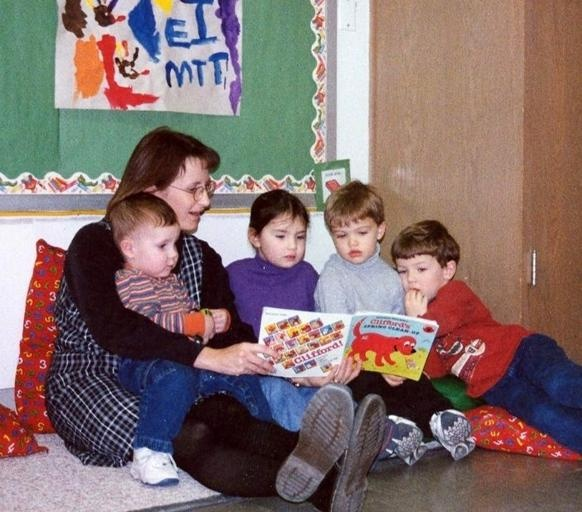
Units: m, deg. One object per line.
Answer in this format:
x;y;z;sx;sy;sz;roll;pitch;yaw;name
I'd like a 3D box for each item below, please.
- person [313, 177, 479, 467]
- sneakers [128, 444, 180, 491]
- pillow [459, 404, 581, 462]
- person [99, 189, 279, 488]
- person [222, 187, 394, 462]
0.429;0.218;2.466;0.574;1.194;0.914;-9;8;-16;person
-0.413;0.653;1.874;0.102;0.125;0.207;7;-6;-26;sneakers
0.830;0.647;2.171;0.386;0.113;0.145;19;56;26;pillow
-0.345;0.239;2.010;0.502;0.879;0.516;1;5;40;person
0.178;0.125;2.399;0.502;1.075;0.936;-5;7;-24;person
